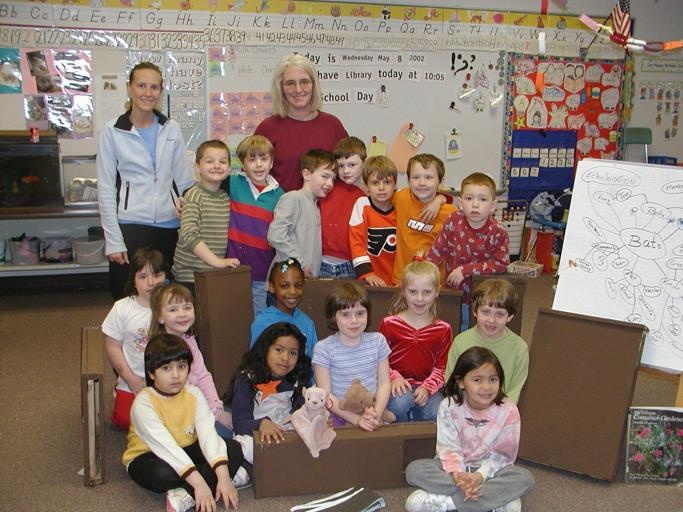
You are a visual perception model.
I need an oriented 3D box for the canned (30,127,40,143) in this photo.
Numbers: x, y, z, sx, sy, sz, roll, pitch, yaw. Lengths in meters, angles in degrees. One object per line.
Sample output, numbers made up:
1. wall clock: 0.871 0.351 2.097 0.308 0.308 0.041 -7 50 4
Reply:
1. canned: -2.460 -0.966 4.705 0.073 0.107 0.164 -4 14 -26
